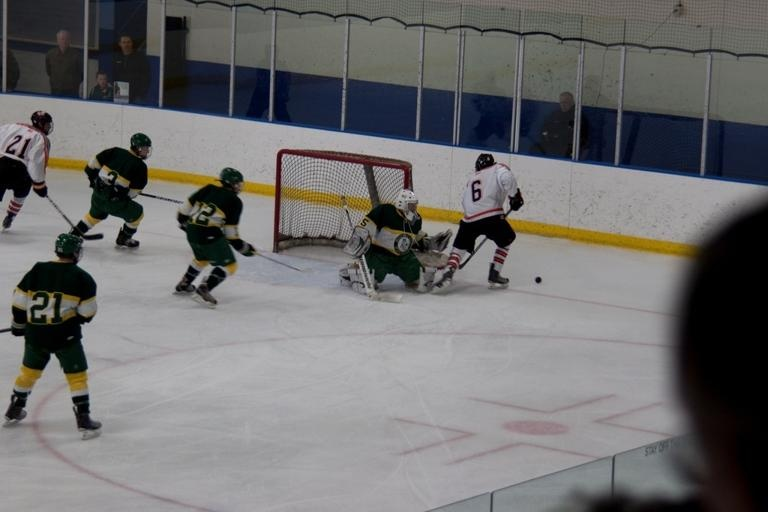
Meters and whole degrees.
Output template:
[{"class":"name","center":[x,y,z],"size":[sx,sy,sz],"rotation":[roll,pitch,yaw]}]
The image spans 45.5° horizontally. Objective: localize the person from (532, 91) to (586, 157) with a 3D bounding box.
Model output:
[{"class":"person","center":[2.213,-1.625,11.416],"size":[0.681,0.805,0.548],"rotation":[6,34,16]}]

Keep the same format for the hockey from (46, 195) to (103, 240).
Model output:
[{"class":"hockey","center":[-3.434,-0.365,10.111],"size":[0.088,0.347,0.913],"rotation":[55,1,26]}]

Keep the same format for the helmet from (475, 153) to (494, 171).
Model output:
[{"class":"helmet","center":[1.051,-0.984,9.367],"size":[0.203,0.202,0.219],"rotation":[-2,0,-5]}]

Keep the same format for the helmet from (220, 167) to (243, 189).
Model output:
[{"class":"helmet","center":[-1.364,-0.702,8.361],"size":[0.229,0.184,0.168],"rotation":[-7,35,-24]}]

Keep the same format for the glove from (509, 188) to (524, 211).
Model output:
[{"class":"glove","center":[1.351,-0.537,9.352],"size":[0.124,0.351,0.145],"rotation":[5,32,8]}]

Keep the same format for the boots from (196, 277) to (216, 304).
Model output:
[{"class":"boots","center":[-1.594,0.339,8.234],"size":[0.215,0.223,0.134],"rotation":[3,10,-20]}]

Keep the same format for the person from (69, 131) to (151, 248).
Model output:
[{"class":"person","center":[-2.894,-0.688,9.703],"size":[0.677,1.261,0.436],"rotation":[4,10,-17]}]

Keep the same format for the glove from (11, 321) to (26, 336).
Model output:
[{"class":"glove","center":[-2.345,0.465,5.841],"size":[0.114,0.096,0.115],"rotation":[4,-12,-11]}]

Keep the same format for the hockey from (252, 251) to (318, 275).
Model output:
[{"class":"hockey","center":[-1.079,0.082,9.834],"size":[0.082,0.074,0.705],"rotation":[-2,16,-42]}]

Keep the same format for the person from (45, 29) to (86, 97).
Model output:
[{"class":"person","center":[-4.914,-2.932,14.019],"size":[0.485,0.976,0.666],"rotation":[2,11,-31]}]

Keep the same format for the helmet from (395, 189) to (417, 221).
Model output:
[{"class":"helmet","center":[0.224,-0.484,8.759],"size":[0.222,0.286,0.268],"rotation":[7,9,0]}]

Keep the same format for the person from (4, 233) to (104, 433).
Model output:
[{"class":"person","center":[-2.080,0.494,5.805],"size":[0.628,1.253,0.441],"rotation":[14,12,38]}]

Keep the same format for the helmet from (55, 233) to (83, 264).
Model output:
[{"class":"helmet","center":[-2.045,-0.055,5.905],"size":[0.170,0.193,0.199],"rotation":[10,15,20]}]

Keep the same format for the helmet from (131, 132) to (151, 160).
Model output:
[{"class":"helmet","center":[-2.552,-1.152,9.627],"size":[0.185,0.258,0.310],"rotation":[8,9,9]}]

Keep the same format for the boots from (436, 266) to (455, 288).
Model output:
[{"class":"boots","center":[0.619,0.220,8.974],"size":[0.105,0.124,0.271],"rotation":[20,51,31]}]

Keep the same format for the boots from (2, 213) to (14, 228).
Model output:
[{"class":"boots","center":[-4.241,-0.399,10.272],"size":[0.071,0.180,0.077],"rotation":[13,4,-9]}]

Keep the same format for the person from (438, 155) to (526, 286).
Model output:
[{"class":"person","center":[0.998,-0.345,9.245],"size":[0.876,1.357,0.656],"rotation":[5,9,-11]}]

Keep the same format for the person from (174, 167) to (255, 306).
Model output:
[{"class":"person","center":[-1.505,-0.186,8.304],"size":[0.685,1.210,0.426],"rotation":[6,9,-6]}]
